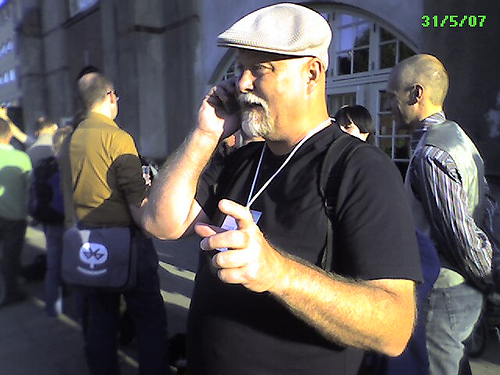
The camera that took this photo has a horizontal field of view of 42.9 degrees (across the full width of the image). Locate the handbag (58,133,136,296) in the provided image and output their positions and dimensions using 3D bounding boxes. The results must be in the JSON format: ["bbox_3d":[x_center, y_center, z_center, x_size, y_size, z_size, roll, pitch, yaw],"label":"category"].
[{"bbox_3d":[-1.538,0.264,6.113,0.928,1.536,0.422,6,7,34],"label":"handbag"}]

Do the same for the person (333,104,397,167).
[{"bbox_3d":[1.161,-0.425,6.714,0.470,0.925,0.818,-3,3,9],"label":"person"}]

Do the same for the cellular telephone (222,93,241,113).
[{"bbox_3d":[-0.152,-0.697,5.293,0.080,0.171,0.149,-2,27,-12],"label":"cellular telephone"}]
